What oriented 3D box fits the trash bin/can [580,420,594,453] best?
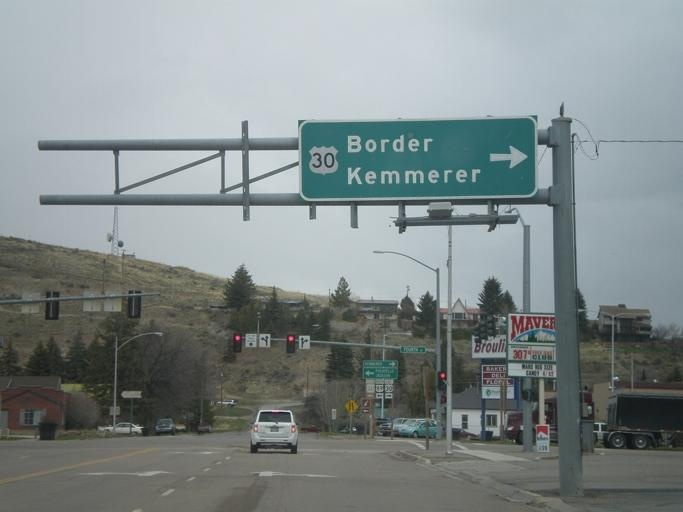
[{"bbox_3d":[17.772,12.900,106.080,0.869,2.131,1.049,-2,-10,8],"label":"trash bin/can"}]

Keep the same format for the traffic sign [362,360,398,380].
[{"bbox_3d":[3.895,11.210,144.172,2.394,1.867,0.037,0,-7,8],"label":"traffic sign"}]

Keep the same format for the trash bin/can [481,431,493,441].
[{"bbox_3d":[14.490,17.543,145.147,1.160,1.521,0.773,0,-6,-6],"label":"trash bin/can"}]
